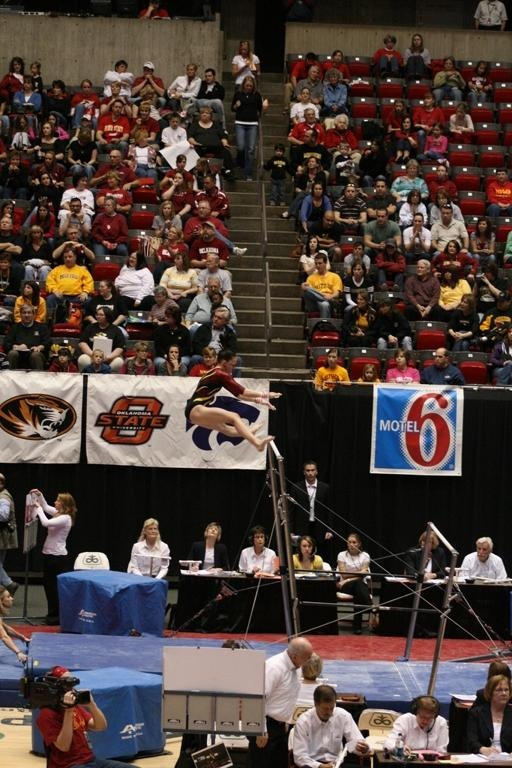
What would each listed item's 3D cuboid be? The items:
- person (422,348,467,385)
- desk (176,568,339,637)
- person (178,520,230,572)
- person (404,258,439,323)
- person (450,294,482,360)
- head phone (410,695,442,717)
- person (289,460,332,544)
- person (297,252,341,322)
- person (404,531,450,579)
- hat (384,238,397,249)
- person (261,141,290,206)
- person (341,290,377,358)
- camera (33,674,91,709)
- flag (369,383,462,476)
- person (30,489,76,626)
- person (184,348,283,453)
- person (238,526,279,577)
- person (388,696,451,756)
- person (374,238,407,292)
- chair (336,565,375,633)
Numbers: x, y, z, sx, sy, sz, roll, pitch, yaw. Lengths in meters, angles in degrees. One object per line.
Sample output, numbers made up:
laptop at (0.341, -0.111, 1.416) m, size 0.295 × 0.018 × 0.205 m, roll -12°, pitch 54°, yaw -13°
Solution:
person at (2.441, -0.235, 18.069) m, size 0.559 × 0.458 × 0.702 m, roll 1°, pitch 6°, yaw 4°
desk at (-0.003, 2.509, 15.797) m, size 1.855 × 0.829 × 0.434 m, roll 0°, pitch 7°, yaw -8°
person at (-0.552, 1.941, 16.101) m, size 0.531 × 0.760 × 0.529 m, roll 2°, pitch -27°, yaw 4°
person at (2.333, -1.317, 19.416) m, size 0.495 × 0.825 × 0.748 m, roll 1°, pitch 6°, yaw 6°
person at (2.813, -0.820, 18.764) m, size 0.415 × 0.744 × 0.544 m, roll 1°, pitch 6°, yaw 8°
head phone at (1.420, 2.674, 11.574) m, size 0.165 × 0.112 × 0.201 m, roll 6°, pitch -30°, yaw 3°
person at (0.721, 1.515, 17.222) m, size 0.625 × 1.071 × 0.321 m, roll -3°, pitch 8°, yaw -28°
person at (0.963, -1.382, 19.408) m, size 0.585 × 0.902 × 0.803 m, roll -2°, pitch 7°, yaw -23°
person at (2.016, 2.107, 16.300) m, size 0.472 × 0.762 × 0.471 m, roll 4°, pitch -6°, yaw 6°
hat at (1.952, -2.010, 19.905) m, size 0.124 × 0.116 × 0.221 m, roll -2°, pitch -12°, yaw 14°
person at (0.353, -3.419, 22.568) m, size 0.404 × 1.015 × 0.829 m, roll 1°, pitch 6°, yaw 1°
person at (1.417, -0.862, 18.645) m, size 0.441 × 0.738 × 0.627 m, roll 0°, pitch 6°, yaw -5°
camera at (-1.474, 2.340, 10.511) m, size 0.396 × 0.203 × 0.223 m, roll 4°, pitch -12°, yaw 16°
flag at (2.063, 0.578, 17.733) m, size 1.094 × 1.178 × 0.054 m, roll 2°, pitch 3°, yaw -1°
person at (-2.333, 1.950, 15.923) m, size 0.439 × 1.506 × 0.811 m, roll 0°, pitch 7°, yaw -1°
person at (-0.071, 0.185, 13.654) m, size 1.242 × 1.328 × 0.655 m, roll 2°, pitch -8°, yaw 1°
person at (0.045, 2.004, 16.238) m, size 0.559 × 0.837 × 0.487 m, roll 1°, pitch -15°, yaw -6°
person at (1.376, 2.875, 11.457) m, size 0.448 × 0.722 × 0.489 m, roll 7°, pitch -7°, yaw 2°
person at (1.951, -1.717, 19.928) m, size 0.430 × 0.681 × 0.980 m, roll 4°, pitch 22°, yaw 4°
chair at (1.151, 2.494, 16.389) m, size 0.472 × 0.851 × 0.564 m, roll 13°, pitch -8°, yaw -1°
